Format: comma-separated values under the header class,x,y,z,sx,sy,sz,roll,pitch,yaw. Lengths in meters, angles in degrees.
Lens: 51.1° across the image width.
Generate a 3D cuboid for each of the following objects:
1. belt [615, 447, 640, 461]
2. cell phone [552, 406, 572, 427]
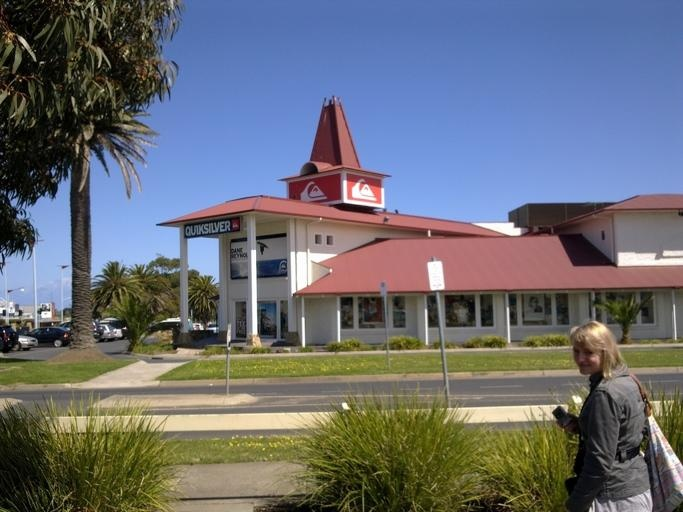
class,x,y,z,sx,sy,sz,roll,pitch,yaw
belt,2.546,1.755,6.331,0.168,0.053,0.123,-16,1,17
cell phone,2.124,1.533,6.853,0.082,0.124,0.211,35,14,-9
